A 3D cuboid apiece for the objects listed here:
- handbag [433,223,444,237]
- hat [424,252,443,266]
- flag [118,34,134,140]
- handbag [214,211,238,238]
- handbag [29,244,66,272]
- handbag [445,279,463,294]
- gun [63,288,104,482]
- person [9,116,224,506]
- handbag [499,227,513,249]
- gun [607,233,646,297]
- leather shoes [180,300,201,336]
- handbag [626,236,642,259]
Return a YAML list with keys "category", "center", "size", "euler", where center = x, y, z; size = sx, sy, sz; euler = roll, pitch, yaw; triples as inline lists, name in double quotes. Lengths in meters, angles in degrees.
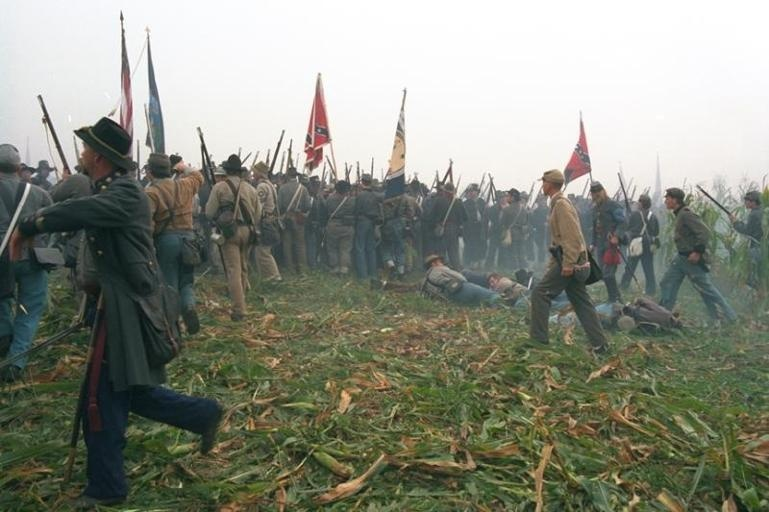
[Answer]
- category: "handbag"
  center: [1.457, -0.709, 15.441]
  size: [0.264, 0.247, 0.264]
  euler: [1, -1, 14]
- category: "hat"
  center: [1.000, 0.084, 12.306]
  size: [0.275, 0.108, 0.294]
  euler: [-20, -17, -38]
- category: "flag"
  center: [-4.515, -3.157, 10.183]
  size: [0.302, 1.872, 0.132]
  euler: [14, 14, 40]
- category: "handbag"
  center: [-2.562, -0.552, 9.685]
  size: [0.338, 0.376, 0.416]
  euler: [-7, 17, 1]
- category: "handbag"
  center: [-4.086, 0.002, 7.092]
  size: [0.122, 0.254, 0.351]
  euler: [-14, -2, 20]
- category: "handbag"
  center: [1.389, 0.560, 11.484]
  size: [0.267, 0.191, 0.253]
  euler: [-19, -27, -43]
- category: "gun"
  center: [-3.091, 1.368, 6.027]
  size: [0.363, 1.834, 0.269]
  euler: [-4, -13, 29]
- category: "person"
  center: [-2.527, 0.459, 5.686]
  size: [1.352, 3.546, 1.062]
  euler: [7, 10, 33]
- category: "handbag"
  center: [3.518, -0.544, 16.896]
  size: [0.346, 0.463, 0.184]
  euler: [-6, -9, 44]
- category: "gun"
  center: [5.197, 0.162, 12.521]
  size: [0.723, 0.548, 1.724]
  euler: [-27, 11, 33]
- category: "leather shoes"
  center: [-2.557, 0.820, 7.860]
  size: [0.187, 0.401, 0.256]
  euler: [-18, -18, -37]
- category: "handbag"
  center: [5.315, -0.216, 12.418]
  size: [0.254, 0.410, 0.391]
  euler: [-8, 14, 21]
